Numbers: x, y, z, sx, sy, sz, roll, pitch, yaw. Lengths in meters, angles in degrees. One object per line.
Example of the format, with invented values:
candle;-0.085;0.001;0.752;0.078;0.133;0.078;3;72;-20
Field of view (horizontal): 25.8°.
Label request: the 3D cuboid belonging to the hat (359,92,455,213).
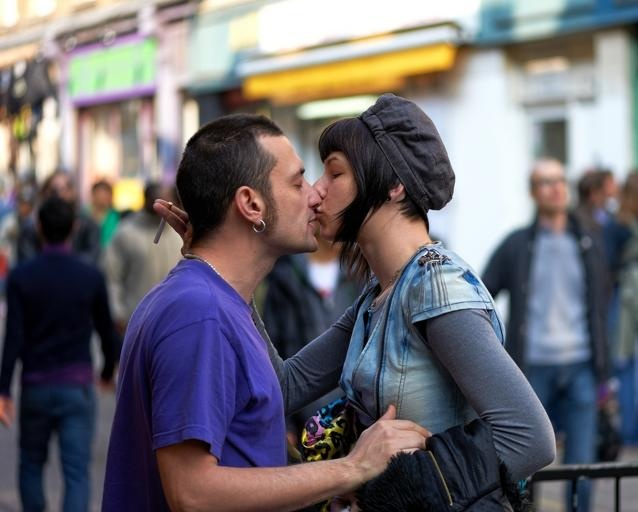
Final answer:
hat;0.411;-0.445;5.845;0.161;0.477;0.358;-30;-2;22
